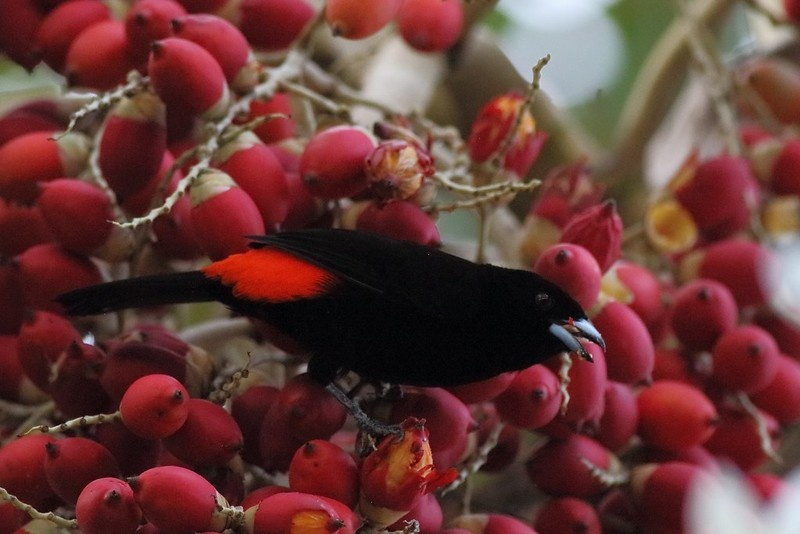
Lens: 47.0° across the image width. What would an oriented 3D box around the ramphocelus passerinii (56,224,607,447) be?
[{"bbox_3d":[-0.099,0.050,1.232,0.680,0.208,0.270,16,98,2],"label":"ramphocelus passerinii"}]
